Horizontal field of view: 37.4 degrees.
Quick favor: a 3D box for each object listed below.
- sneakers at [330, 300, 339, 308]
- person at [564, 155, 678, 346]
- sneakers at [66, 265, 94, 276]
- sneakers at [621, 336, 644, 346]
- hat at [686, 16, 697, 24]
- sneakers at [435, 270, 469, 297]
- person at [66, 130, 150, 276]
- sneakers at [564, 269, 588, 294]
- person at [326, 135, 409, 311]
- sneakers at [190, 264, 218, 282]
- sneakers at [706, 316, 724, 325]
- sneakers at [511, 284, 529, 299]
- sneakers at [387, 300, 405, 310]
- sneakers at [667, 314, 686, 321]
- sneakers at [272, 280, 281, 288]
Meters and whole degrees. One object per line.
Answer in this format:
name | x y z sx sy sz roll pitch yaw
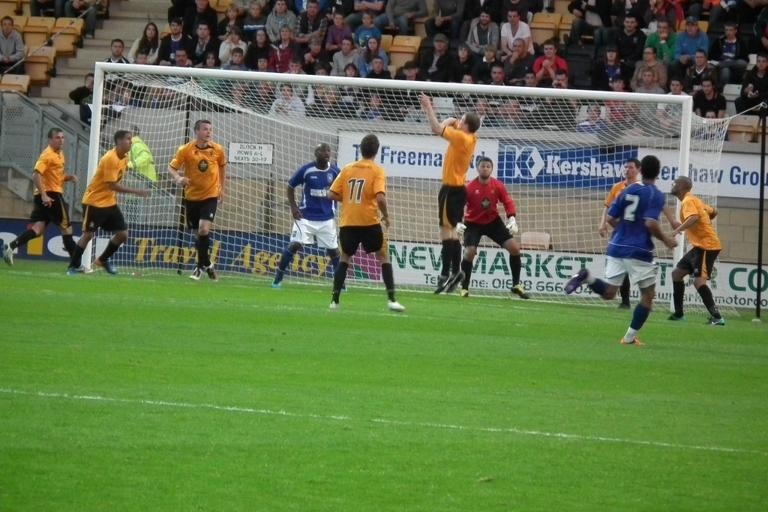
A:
sneakers | -0.742 0.727 17.069 0.091 0.105 0.116 0 -11 5
person | 3.430 -0.107 16.161 0.832 2.684 1.305 4 -2 -15
sneakers | -5.250 0.235 19.773 0.464 0.172 0.151 0 10 -30
sneakers | 3.464 1.189 15.841 0.341 0.139 0.112 -3 8 -17
hat | 6.331 -4.921 23.423 0.282 0.135 0.419 2 5 22
sneakers | 1.070 0.454 19.085 0.240 0.642 0.252 19 34 -52
person | -4.715 -0.923 19.405 0.862 1.833 1.480 5 -2 -31
sneakers | 3.144 0.388 18.801 0.205 0.475 0.173 41 8 -47
person | -0.275 -0.530 17.054 1.129 2.670 0.865 3 -2 -1
sneakers | -3.066 0.305 19.626 0.231 0.283 0.697 -5 -11 29
sneakers | 5.459 1.069 18.732 0.324 0.133 0.107 4 1 3
sneakers | 2.450 0.645 20.604 0.288 0.197 0.098 24 38 -6
sneakers | 0.189 0.740 17.078 0.222 0.110 0.118 3 0 -6
sneakers | 4.914 1.044 19.153 0.285 0.110 0.100 6 7 41
sneakers | -1.858 0.488 19.760 0.099 0.130 0.052 4 28 -4
